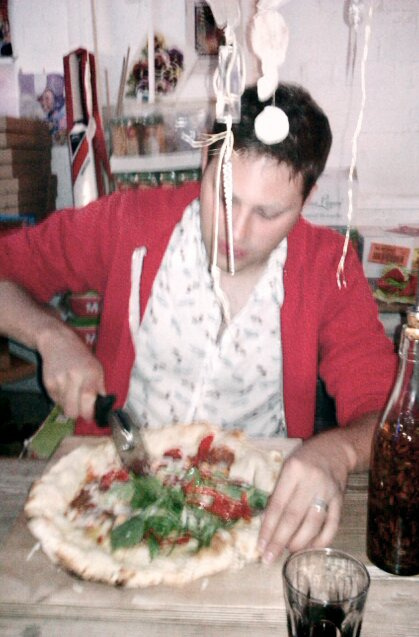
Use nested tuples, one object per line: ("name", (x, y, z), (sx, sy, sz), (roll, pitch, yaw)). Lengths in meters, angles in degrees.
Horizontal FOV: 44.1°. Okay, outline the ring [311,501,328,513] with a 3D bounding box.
("ring", (0.138, 0.236, 0.654), (0.011, 0.014, 0.014), (-53, 26, -21))
